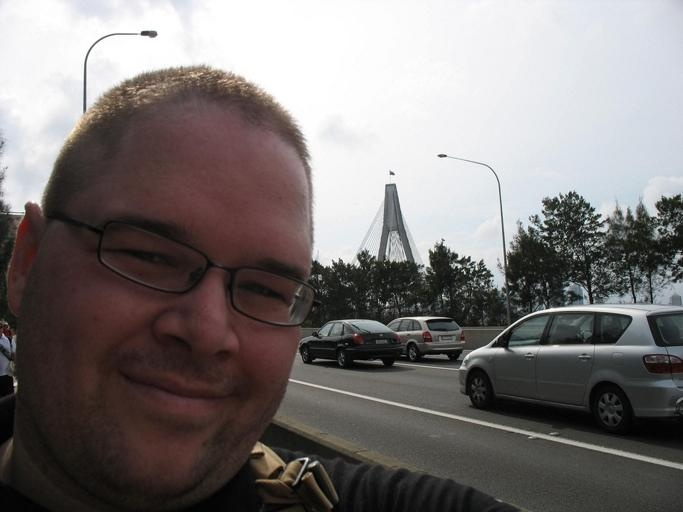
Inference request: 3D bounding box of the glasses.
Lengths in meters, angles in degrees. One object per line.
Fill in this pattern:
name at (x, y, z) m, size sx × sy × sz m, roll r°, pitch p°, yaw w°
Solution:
glasses at (-0.442, 0.045, 1.597) m, size 0.672 × 0.176 × 0.197 m, roll 17°, pitch -14°, yaw -26°
